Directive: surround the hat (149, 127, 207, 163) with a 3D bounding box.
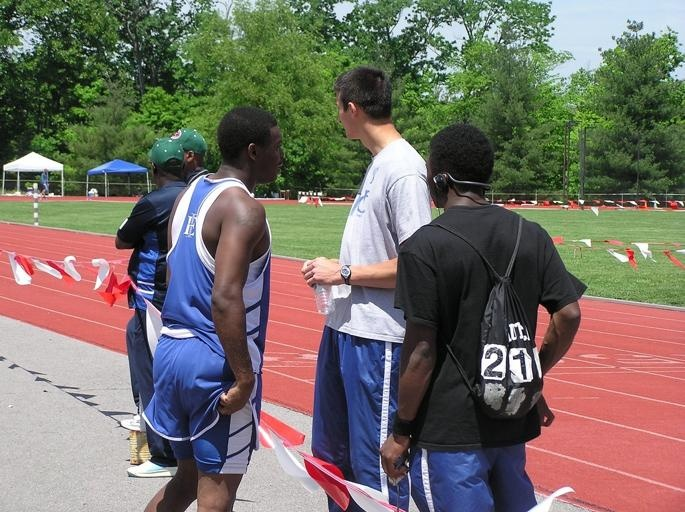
[{"bbox_3d":[-1.173,-0.776,4.591,0.363,0.202,0.238,15,25,1],"label":"hat"}]

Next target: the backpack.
[{"bbox_3d":[0.693,0.391,2.762,0.263,0.570,0.119,2,7,4],"label":"backpack"}]

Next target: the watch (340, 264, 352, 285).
[{"bbox_3d":[0.019,0.089,3.254,0.058,0.093,0.086,-3,-19,2],"label":"watch"}]

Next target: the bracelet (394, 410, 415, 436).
[{"bbox_3d":[0.262,0.731,2.867,0.100,0.084,0.096,2,-3,19],"label":"bracelet"}]

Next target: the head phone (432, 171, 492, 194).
[{"bbox_3d":[0.532,-0.326,2.939,0.147,0.051,0.123,8,-11,6],"label":"head phone"}]

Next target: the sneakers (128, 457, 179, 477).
[{"bbox_3d":[-1.280,1.444,4.477,0.375,0.155,0.138,4,-8,-9],"label":"sneakers"}]
